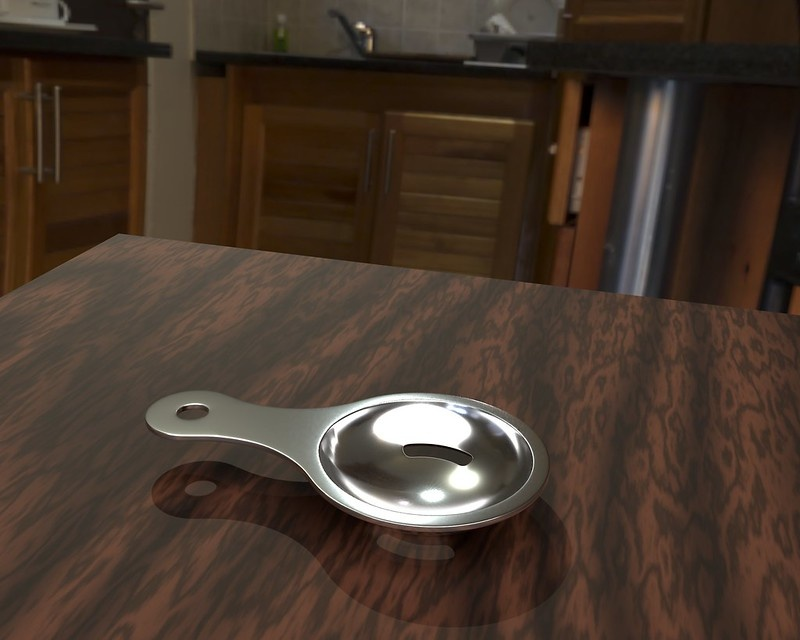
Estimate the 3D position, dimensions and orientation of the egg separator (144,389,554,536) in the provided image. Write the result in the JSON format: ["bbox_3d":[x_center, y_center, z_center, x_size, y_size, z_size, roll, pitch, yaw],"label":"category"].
[{"bbox_3d":[-0.019,0.035,0.240,0.120,0.020,0.074,12,28,15],"label":"egg separator"}]

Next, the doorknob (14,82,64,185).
[{"bbox_3d":[-1.089,-0.576,1.755,0.124,0.312,0.041,4,3,-38],"label":"doorknob"}]

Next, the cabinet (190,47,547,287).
[{"bbox_3d":[-0.032,-0.354,2.423,1.129,1.214,0.826,3,13,9],"label":"cabinet"}]
